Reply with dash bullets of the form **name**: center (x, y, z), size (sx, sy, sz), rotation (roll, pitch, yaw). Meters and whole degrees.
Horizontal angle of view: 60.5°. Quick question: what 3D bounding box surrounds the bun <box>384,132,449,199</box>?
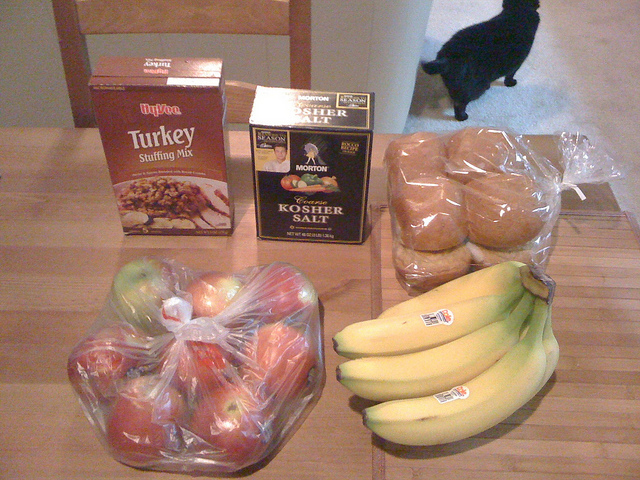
- **bun**: center (0.175, -0.145, 1.056), size (0.131, 0.064, 0.120), rotation (-9, 66, 14)

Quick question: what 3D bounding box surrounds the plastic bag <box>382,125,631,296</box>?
- **plastic bag**: center (0.320, -0.055, 1.054), size (0.407, 0.118, 0.304), rotation (-11, 65, -2)

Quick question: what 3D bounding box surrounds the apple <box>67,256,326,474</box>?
- **apple**: center (-0.179, 0.176, 0.851), size (0.367, 0.196, 0.319), rotation (5, 42, 7)

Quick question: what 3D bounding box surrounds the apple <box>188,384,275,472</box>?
- **apple**: center (-0.128, 0.262, 0.824), size (0.131, 0.073, 0.116), rotation (-26, 83, -3)

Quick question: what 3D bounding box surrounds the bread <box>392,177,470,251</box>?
- **bread**: center (0.209, -0.041, 1.011), size (0.149, 0.101, 0.122), rotation (8, 84, 17)

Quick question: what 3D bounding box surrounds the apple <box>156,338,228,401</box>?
- **apple**: center (-0.182, 0.183, 0.790), size (0.094, 0.056, 0.087), rotation (8, 52, -14)

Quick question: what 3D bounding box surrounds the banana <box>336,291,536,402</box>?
- **banana**: center (0.185, 0.168, 0.837), size (0.272, 0.138, 0.062), rotation (-12, 42, 0)

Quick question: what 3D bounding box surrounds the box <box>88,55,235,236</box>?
- **box**: center (-0.275, -0.174, 1.020), size (0.221, 0.325, 0.150), rotation (-3, 43, 0)

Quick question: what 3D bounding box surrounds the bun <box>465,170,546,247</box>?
- **bun**: center (0.323, -0.053, 0.976), size (0.146, 0.072, 0.123), rotation (-3, 69, -1)

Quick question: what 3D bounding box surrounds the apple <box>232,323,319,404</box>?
- **apple**: center (-0.068, 0.196, 0.864), size (0.135, 0.087, 0.162), rotation (-4, 14, -14)

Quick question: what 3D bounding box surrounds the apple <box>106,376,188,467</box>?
- **apple**: center (-0.236, 0.253, 0.772), size (0.108, 0.067, 0.115), rotation (8, 88, -1)

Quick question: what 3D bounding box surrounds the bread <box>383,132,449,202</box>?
- **bread**: center (0.172, -0.131, 1.020), size (0.133, 0.055, 0.119), rotation (0, 84, 26)

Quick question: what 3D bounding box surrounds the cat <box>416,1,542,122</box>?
- **cat**: center (0.641, -0.723, 2.292), size (0.510, 0.516, 0.173), rotation (-12, 44, -10)

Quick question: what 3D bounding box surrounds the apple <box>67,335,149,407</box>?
- **apple**: center (-0.319, 0.194, 0.856), size (0.109, 0.058, 0.101), rotation (-38, 85, 5)

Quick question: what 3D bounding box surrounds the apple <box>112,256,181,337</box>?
- **apple**: center (-0.254, 0.095, 0.908), size (0.123, 0.135, 0.114), rotation (3, 45, -13)

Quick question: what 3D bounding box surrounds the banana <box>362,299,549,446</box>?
- **banana**: center (0.206, 0.204, 0.823), size (0.304, 0.181, 0.076), rotation (-19, 29, -6)

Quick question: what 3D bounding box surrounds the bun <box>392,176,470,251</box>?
- **bun**: center (0.199, -0.052, 0.981), size (0.122, 0.096, 0.109), rotation (-3, 42, -1)

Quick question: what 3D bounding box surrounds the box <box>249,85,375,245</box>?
- **box**: center (-0.014, -0.148, 1.047), size (0.220, 0.262, 0.181), rotation (2, 43, 4)

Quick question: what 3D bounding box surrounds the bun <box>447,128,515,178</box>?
- **bun**: center (0.288, -0.162, 1.003), size (0.113, 0.029, 0.101), rotation (-6, 60, -1)
